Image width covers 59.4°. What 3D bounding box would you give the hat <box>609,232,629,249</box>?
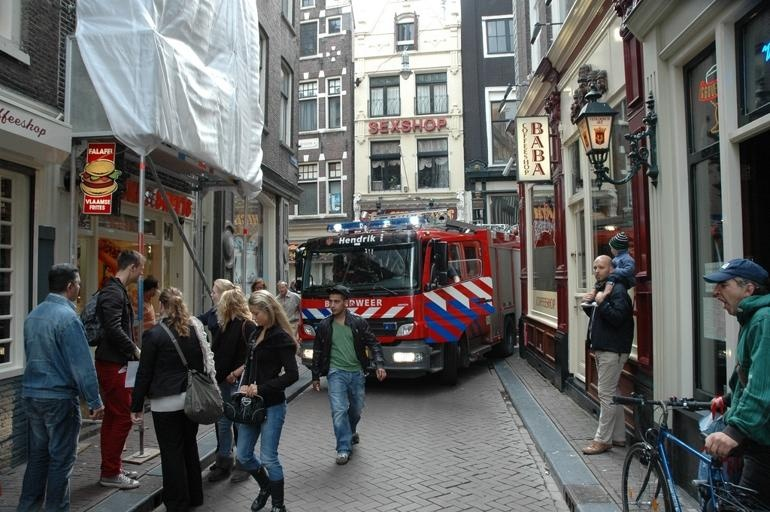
[{"bbox_3d":[3.300,-0.198,9.537,0.236,0.196,0.247,7,8,30],"label":"hat"}]

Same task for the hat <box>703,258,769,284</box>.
[{"bbox_3d":[3.330,0.147,6.402,0.466,0.227,0.308,-1,-5,17],"label":"hat"}]

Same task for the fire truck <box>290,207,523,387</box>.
[{"bbox_3d":[1.327,1.019,16.890,3.289,3.787,8.251,-5,-4,27],"label":"fire truck"}]

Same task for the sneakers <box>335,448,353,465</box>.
[{"bbox_3d":[-0.580,2.765,9.466,0.217,0.149,0.425,0,3,4],"label":"sneakers"}]

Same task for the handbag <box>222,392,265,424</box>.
[{"bbox_3d":[-1.637,1.774,7.896,0.489,0.526,0.181,0,-8,8],"label":"handbag"}]

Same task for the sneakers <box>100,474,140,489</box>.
[{"bbox_3d":[-3.271,2.755,8.375,0.486,0.216,0.189,1,-4,-3],"label":"sneakers"}]

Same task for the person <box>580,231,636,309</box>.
[{"bbox_3d":[3.169,0.283,9.877,0.887,1.461,0.761,1,-11,5],"label":"person"}]

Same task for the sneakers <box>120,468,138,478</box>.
[{"bbox_3d":[-3.253,2.752,8.586,0.226,0.101,0.087,2,13,0],"label":"sneakers"}]

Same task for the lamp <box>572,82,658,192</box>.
[{"bbox_3d":[3.286,-1.724,9.700,1.018,1.521,1.676,1,3,14],"label":"lamp"}]

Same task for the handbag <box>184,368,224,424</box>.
[{"bbox_3d":[-2.112,1.618,7.846,0.443,0.574,0.316,-1,3,-16],"label":"handbag"}]
